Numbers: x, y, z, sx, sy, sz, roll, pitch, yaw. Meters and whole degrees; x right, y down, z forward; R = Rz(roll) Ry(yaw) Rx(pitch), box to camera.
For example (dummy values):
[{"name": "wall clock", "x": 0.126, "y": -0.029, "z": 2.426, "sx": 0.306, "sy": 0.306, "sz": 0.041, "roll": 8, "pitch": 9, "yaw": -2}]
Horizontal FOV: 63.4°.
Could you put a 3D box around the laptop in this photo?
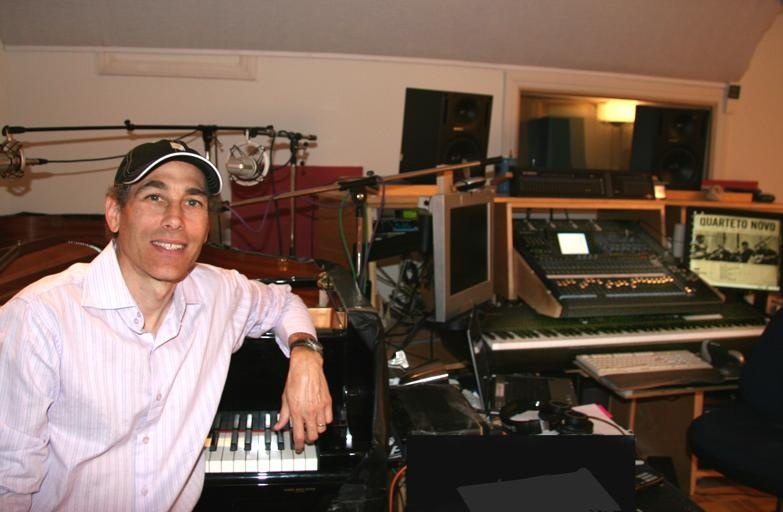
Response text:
[{"name": "laptop", "x": 0.736, "y": 0.607, "z": 3.924, "sx": 0.830, "sy": 0.535, "sz": 0.357, "roll": 3, "pitch": -24, "yaw": -15}]

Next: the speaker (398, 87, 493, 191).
[{"name": "speaker", "x": 0.415, "y": -0.929, "z": 4.731, "sx": 0.669, "sy": 0.588, "sz": 0.279, "roll": -4, "pitch": 13, "yaw": -13}]

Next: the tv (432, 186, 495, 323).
[{"name": "tv", "x": 0.432, "y": -0.012, "z": 3.879, "sx": 0.124, "sy": 0.832, "sz": 0.778, "roll": 8, "pitch": 15, "yaw": 41}]

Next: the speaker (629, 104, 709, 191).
[{"name": "speaker", "x": 2.001, "y": -0.767, "z": 4.556, "sx": 0.568, "sy": 0.588, "sz": 0.203, "roll": -4, "pitch": 13, "yaw": -11}]

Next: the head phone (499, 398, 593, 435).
[{"name": "head phone", "x": 0.778, "y": 0.827, "z": 3.300, "sx": 0.442, "sy": 0.121, "sz": 0.301, "roll": -4, "pitch": -4, "yaw": 18}]

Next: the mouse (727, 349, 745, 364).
[{"name": "mouse", "x": 2.161, "y": 0.633, "z": 3.970, "sx": 0.070, "sy": 0.075, "sz": 0.090, "roll": -9, "pitch": 59, "yaw": -36}]

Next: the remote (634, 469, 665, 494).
[{"name": "remote", "x": 1.218, "y": 1.067, "z": 3.018, "sx": 0.151, "sy": 0.037, "sz": 0.143, "roll": -5, "pitch": 11, "yaw": -4}]
